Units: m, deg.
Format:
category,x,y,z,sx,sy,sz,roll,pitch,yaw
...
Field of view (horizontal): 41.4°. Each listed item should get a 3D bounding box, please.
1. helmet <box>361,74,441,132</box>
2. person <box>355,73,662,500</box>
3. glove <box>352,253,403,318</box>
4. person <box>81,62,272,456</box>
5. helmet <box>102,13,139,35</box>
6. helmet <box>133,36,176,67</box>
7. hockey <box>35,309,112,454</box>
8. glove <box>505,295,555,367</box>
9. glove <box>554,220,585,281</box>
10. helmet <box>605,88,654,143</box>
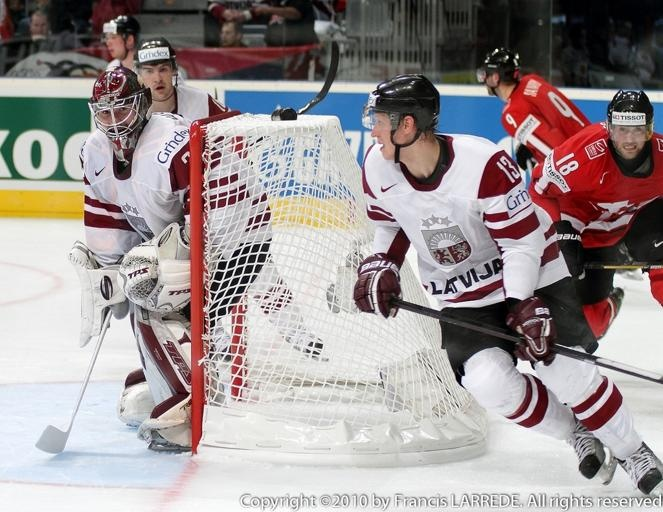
category,x,y,z,sx,sy,sz,roll,pitch,yaw
helmet,0.249,-0.533,3.056,0.235,0.190,0.178,3,6,8
person,0.596,0.094,3.032,1.034,1.395,0.372,5,14,21
glove,0.164,0.109,3.134,0.093,0.198,0.168,-8,-15,19
person,-0.702,-0.025,3.501,0.554,1.420,0.743,-6,14,-26
helmet,-1.368,-1.539,5.844,0.178,0.117,0.308,7,14,27
helmet,-0.835,-0.978,4.217,0.131,0.136,0.171,-8,18,13
hockey,-1.011,0.493,3.443,0.167,0.440,0.496,1,13,5
glove,0.636,0.250,2.850,0.152,0.210,0.099,-3,-3,23
glove,1.043,-0.025,3.852,0.075,0.243,0.154,-6,-9,19
helmet,1.240,-0.597,3.740,0.167,0.214,0.218,3,21,16
